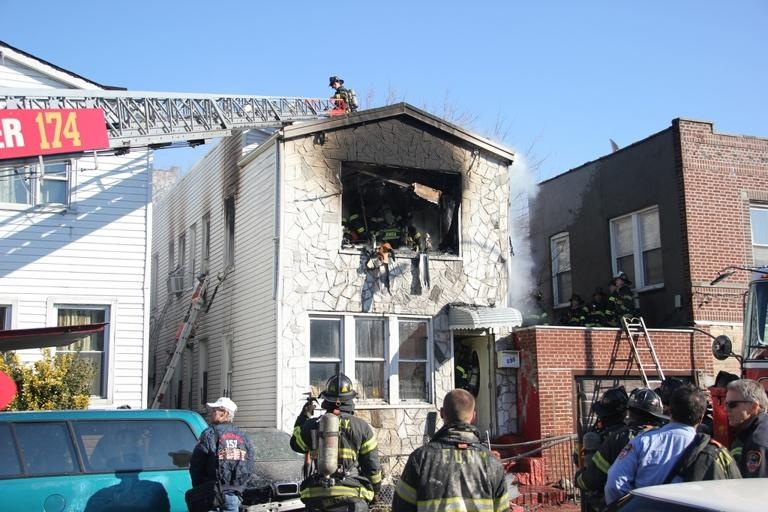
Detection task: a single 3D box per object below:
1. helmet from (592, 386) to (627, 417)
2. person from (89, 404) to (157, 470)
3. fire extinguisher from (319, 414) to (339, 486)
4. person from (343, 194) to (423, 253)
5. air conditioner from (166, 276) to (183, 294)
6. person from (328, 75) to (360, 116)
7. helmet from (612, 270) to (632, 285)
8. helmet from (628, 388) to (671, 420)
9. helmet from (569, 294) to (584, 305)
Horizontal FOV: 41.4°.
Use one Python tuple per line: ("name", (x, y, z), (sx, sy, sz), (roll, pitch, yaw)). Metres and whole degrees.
("helmet", (3.328, 2.113, 14.845), (0.487, 0.252, 0.363), (0, -3, -30))
("person", (-3.796, 2.863, 15.449), (1.307, 1.163, 0.719), (-1, -14, -11))
("fire extinguisher", (-0.767, 2.696, 14.402), (0.311, 0.936, 0.280), (1, -9, -3))
("person", (-0.082, -0.755, 23.711), (1.214, 0.686, 1.578), (1, 4, -18))
("air conditioner", (-5.523, 0.772, 27.298), (0.367, 0.499, 0.512), (0, -3, -32))
("person", (-0.990, -4.219, 27.145), (0.733, 1.018, 0.778), (3, -9, -19))
("helmet", (5.689, 0.500, 24.406), (0.376, 0.177, 0.447), (3, -13, 10))
("helmet", (3.693, 2.065, 14.201), (0.504, 0.282, 0.397), (12, -2, -14))
("helmet", (4.851, 1.117, 25.809), (0.280, 0.129, 0.327), (2, -20, 12))
